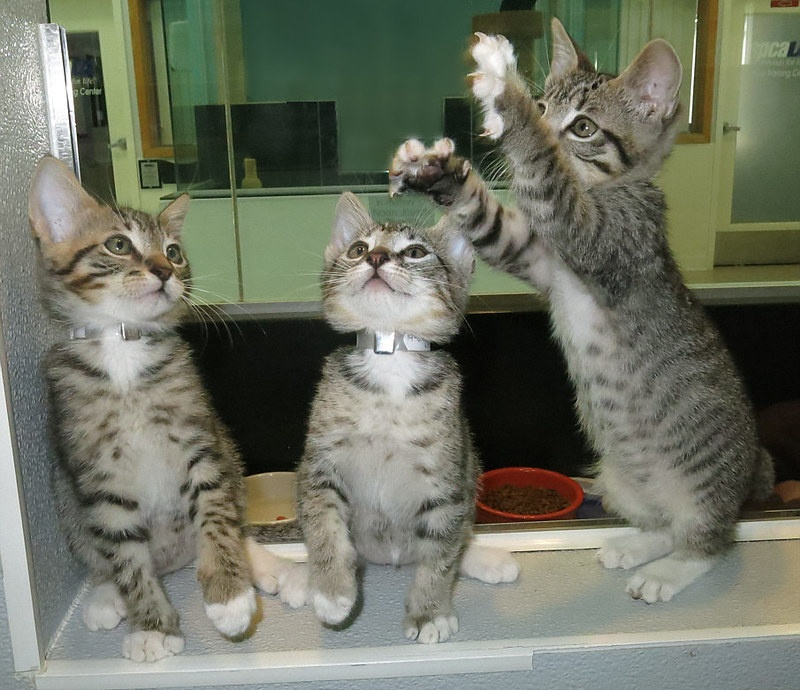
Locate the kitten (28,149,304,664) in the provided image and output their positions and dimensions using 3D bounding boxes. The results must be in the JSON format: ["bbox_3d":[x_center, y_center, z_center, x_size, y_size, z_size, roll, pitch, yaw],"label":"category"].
[{"bbox_3d":[-0.481,0.076,1.482,0.315,0.817,0.534,-7,21,-14],"label":"kitten"}]

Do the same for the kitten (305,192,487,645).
[{"bbox_3d":[-0.028,0.112,1.481,0.319,0.724,0.444,0,20,4],"label":"kitten"}]

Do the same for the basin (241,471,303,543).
[{"bbox_3d":[-0.278,0.357,1.799,0.156,0.150,0.057,2,-27,-9],"label":"basin"}]
